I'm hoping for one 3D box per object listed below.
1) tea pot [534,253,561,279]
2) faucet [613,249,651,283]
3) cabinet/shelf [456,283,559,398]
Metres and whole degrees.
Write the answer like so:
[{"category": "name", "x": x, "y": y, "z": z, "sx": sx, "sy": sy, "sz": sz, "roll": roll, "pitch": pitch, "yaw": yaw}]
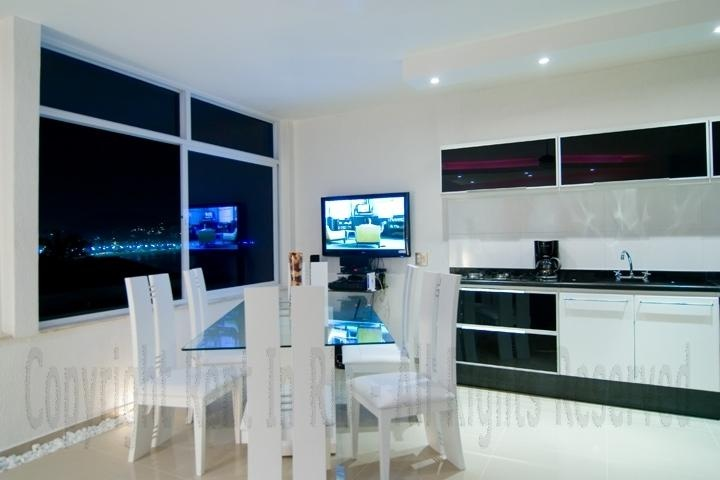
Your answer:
[{"category": "tea pot", "x": 2.100, "y": 0.296, "z": 5.540, "sx": 0.179, "sy": 0.296, "sz": 0.300, "roll": 0, "pitch": 1, "yaw": -42}, {"category": "faucet", "x": 2.894, "y": 0.277, "z": 5.249, "sx": 0.324, "sy": 0.284, "sz": 0.126, "roll": -3, "pitch": -8, "yaw": 32}, {"category": "cabinet/shelf", "x": 1.607, "y": 1.053, "z": 5.271, "sx": 1.290, "sy": 1.174, "sz": 0.500, "roll": 1, "pitch": 4, "yaw": 23}]
